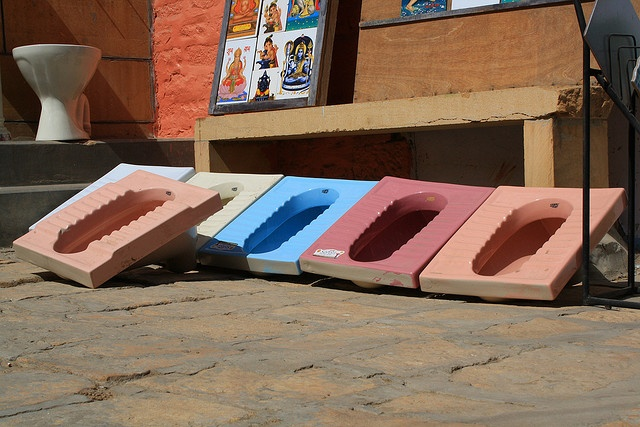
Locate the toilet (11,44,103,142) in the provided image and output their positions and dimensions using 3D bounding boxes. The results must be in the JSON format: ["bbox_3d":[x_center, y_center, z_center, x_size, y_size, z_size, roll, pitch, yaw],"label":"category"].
[{"bbox_3d":[-1.957,-0.858,5.321,0.706,0.599,0.708,-1,4,15],"label":"toilet"}]
